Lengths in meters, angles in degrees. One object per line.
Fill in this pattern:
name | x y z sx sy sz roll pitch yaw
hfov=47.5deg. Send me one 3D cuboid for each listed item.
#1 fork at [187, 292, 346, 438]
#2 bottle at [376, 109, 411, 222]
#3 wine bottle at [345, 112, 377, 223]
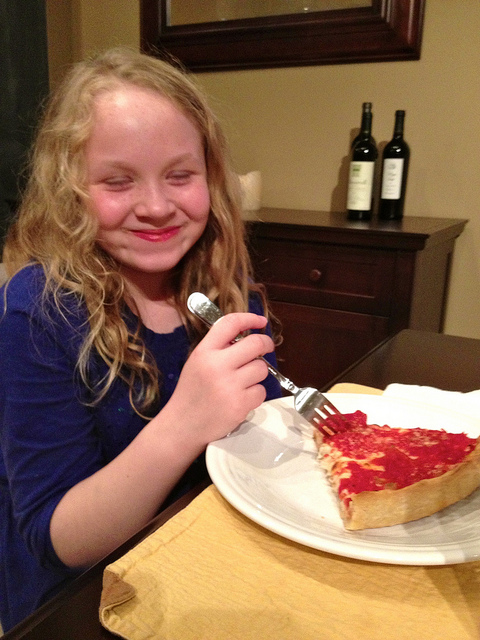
fork | 0.049 0.064 0.673 0.215 0.035 0.012 43 11 35
bottle | 0.550 -0.538 1.914 0.097 0.367 0.183 7 22 12
wine bottle | 0.432 -0.539 1.915 0.101 0.366 0.099 1 21 0
